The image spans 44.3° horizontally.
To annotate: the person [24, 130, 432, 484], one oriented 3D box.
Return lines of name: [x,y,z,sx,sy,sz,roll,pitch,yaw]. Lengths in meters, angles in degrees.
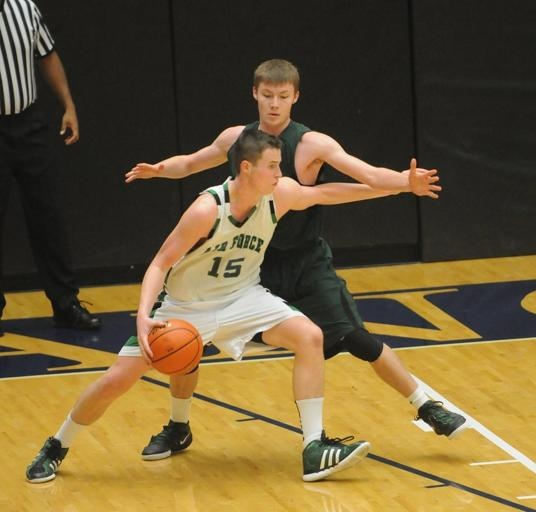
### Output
person: [-0.147,0.190,2.418,1.376,1.287,0.612,-2,9,-3]

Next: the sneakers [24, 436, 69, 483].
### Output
sneakers: [-0.793,0.740,2.458,0.090,0.100,0.231,11,11,6]

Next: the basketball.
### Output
basketball: [-0.292,0.289,2.202,0.189,0.169,0.174,-5,0,3]

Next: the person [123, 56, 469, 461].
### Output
person: [-0.152,0.205,2.475,1.609,1.230,0.680,-3,3,19]

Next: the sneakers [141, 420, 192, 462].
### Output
sneakers: [-0.394,0.739,2.694,0.089,0.113,0.257,13,15,43]
